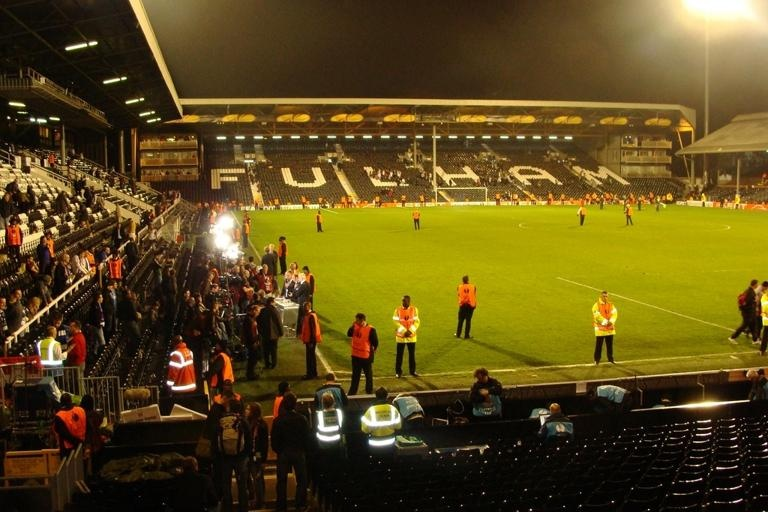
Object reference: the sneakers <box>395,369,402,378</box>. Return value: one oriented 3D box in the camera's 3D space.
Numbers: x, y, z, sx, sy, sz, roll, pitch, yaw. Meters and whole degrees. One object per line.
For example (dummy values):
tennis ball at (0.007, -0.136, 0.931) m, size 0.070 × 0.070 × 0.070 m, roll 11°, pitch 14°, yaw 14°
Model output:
sneakers at (0.429, 3.211, 18.661) m, size 0.202 × 0.204 × 0.229 m, roll -1°, pitch 9°, yaw -5°

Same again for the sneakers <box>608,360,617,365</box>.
sneakers at (6.655, 3.067, 19.670) m, size 0.214 × 0.114 × 0.351 m, roll 3°, pitch 10°, yaw 16°

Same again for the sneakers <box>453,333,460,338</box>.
sneakers at (2.415, 2.592, 22.311) m, size 0.169 × 0.106 × 0.324 m, roll -1°, pitch 10°, yaw -6°

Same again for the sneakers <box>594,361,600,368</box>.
sneakers at (6.160, 3.109, 19.526) m, size 0.134 × 0.235 × 0.128 m, roll 0°, pitch -2°, yaw -2°

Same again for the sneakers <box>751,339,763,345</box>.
sneakers at (11.903, 2.724, 21.581) m, size 0.249 × 0.125 × 0.564 m, roll 5°, pitch 11°, yaw 27°

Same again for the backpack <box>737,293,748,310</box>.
backpack at (11.278, 1.401, 21.252) m, size 0.152 × 0.491 × 0.483 m, roll 3°, pitch 9°, yaw 19°

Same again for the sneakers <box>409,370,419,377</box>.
sneakers at (0.828, 3.238, 18.760) m, size 0.259 × 0.243 × 0.130 m, roll -1°, pitch 11°, yaw -2°
